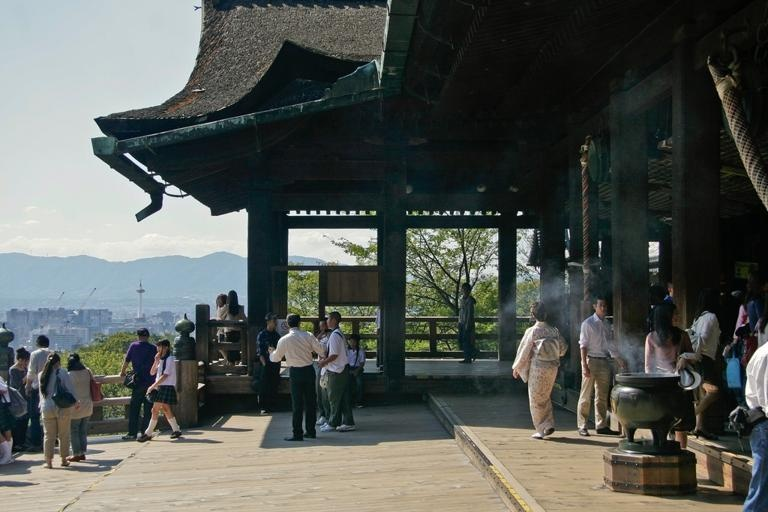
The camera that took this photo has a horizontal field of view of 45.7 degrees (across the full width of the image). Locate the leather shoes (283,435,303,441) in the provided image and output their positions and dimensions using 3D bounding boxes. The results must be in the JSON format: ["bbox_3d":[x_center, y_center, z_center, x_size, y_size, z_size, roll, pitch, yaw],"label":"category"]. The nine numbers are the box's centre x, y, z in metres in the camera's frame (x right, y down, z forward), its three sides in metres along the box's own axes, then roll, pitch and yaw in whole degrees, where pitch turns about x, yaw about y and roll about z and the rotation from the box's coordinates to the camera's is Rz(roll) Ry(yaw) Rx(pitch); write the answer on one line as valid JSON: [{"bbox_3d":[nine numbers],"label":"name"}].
[{"bbox_3d":[-1.562,3.077,15.502,0.228,0.097,0.418,4,-8,-41],"label":"leather shoes"}]

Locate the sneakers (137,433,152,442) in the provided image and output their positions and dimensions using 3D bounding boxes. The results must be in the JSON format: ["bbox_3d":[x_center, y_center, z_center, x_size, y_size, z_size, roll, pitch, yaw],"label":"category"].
[{"bbox_3d":[-4.216,3.209,16.160,0.101,0.124,0.286,-6,-13,43],"label":"sneakers"}]

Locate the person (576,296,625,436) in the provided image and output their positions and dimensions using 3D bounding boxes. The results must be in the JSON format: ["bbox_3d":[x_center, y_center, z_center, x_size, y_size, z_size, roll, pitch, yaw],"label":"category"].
[{"bbox_3d":[3.400,1.731,14.403,0.701,2.125,0.647,-1,-6,-2],"label":"person"}]

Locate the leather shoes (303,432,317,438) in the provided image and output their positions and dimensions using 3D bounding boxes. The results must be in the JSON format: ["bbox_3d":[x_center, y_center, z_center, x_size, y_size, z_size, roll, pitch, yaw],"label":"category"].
[{"bbox_3d":[-1.259,3.051,15.599,0.229,0.097,0.196,-1,-6,-5],"label":"leather shoes"}]

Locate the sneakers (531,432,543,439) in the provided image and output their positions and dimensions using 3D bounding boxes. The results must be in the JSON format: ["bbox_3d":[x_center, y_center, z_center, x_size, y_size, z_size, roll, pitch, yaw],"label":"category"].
[{"bbox_3d":[2.378,2.773,14.127,0.211,0.107,0.143,-6,-8,37],"label":"sneakers"}]

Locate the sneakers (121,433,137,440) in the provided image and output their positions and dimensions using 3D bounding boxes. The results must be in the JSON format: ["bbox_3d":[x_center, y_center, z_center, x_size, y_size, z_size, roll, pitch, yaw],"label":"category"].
[{"bbox_3d":[-4.653,3.289,16.635,0.493,0.094,0.249,-6,-8,39],"label":"sneakers"}]

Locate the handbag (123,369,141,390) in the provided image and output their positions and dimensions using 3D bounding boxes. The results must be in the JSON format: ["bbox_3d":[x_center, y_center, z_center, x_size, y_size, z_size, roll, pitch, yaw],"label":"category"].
[{"bbox_3d":[-4.615,2.239,16.669,0.253,0.472,0.348,1,-4,16],"label":"handbag"}]

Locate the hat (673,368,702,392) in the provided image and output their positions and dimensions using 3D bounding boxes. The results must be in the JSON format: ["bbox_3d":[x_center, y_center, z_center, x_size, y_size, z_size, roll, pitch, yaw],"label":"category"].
[{"bbox_3d":[4.051,1.613,12.068,0.276,0.305,0.242,-3,-6,16],"label":"hat"}]

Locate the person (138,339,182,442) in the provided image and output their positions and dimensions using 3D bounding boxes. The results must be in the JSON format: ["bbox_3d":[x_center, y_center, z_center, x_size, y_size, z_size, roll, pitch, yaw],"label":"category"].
[{"bbox_3d":[-3.966,2.369,16.235,0.667,1.774,0.556,-5,-7,34],"label":"person"}]

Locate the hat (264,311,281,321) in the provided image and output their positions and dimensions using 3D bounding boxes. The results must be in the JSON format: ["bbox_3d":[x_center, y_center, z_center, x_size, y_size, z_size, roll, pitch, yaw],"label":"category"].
[{"bbox_3d":[-2.207,1.128,17.621,0.191,0.111,0.293,0,-10,-37],"label":"hat"}]

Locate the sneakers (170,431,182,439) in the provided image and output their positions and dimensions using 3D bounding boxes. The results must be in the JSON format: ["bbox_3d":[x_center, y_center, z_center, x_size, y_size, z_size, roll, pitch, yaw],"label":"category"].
[{"bbox_3d":[-3.683,3.153,16.175,0.196,0.117,0.271,1,-6,-14],"label":"sneakers"}]

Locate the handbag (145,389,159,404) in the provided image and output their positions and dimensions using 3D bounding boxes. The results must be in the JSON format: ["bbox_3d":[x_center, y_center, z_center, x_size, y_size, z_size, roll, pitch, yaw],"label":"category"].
[{"bbox_3d":[-4.099,2.468,16.167,0.180,0.240,0.251,-5,-22,14],"label":"handbag"}]

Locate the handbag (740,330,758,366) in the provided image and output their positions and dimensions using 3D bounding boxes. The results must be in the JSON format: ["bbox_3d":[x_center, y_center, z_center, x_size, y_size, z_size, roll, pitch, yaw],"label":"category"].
[{"bbox_3d":[5.035,1.252,12.532,0.160,0.474,0.360,4,-1,8],"label":"handbag"}]

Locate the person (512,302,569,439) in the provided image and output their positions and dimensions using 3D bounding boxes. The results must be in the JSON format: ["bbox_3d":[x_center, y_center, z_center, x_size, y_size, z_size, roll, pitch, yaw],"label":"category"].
[{"bbox_3d":[2.461,1.771,14.290,0.811,2.101,0.356,-2,-6,10],"label":"person"}]

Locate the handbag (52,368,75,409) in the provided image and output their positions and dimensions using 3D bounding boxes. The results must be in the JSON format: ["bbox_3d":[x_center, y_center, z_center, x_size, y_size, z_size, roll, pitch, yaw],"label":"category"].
[{"bbox_3d":[-5.291,2.188,15.124,0.378,0.643,0.115,1,-6,-20],"label":"handbag"}]

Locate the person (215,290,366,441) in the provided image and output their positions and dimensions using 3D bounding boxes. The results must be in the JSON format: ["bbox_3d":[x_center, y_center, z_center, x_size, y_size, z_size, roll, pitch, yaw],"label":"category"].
[{"bbox_3d":[-1.177,2.058,15.893,0.966,2.175,1.511,-4,-7,26],"label":"person"}]

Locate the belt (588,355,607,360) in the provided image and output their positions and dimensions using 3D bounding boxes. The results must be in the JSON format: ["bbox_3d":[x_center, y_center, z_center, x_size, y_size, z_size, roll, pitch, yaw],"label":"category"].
[{"bbox_3d":[3.353,1.563,14.236,0.254,0.063,0.073,-2,-6,9],"label":"belt"}]

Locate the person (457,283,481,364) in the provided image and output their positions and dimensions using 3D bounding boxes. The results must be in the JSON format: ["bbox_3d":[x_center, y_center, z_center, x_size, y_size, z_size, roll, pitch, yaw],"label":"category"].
[{"bbox_3d":[1.944,1.528,21.247,0.413,1.862,0.695,-1,-6,6],"label":"person"}]
